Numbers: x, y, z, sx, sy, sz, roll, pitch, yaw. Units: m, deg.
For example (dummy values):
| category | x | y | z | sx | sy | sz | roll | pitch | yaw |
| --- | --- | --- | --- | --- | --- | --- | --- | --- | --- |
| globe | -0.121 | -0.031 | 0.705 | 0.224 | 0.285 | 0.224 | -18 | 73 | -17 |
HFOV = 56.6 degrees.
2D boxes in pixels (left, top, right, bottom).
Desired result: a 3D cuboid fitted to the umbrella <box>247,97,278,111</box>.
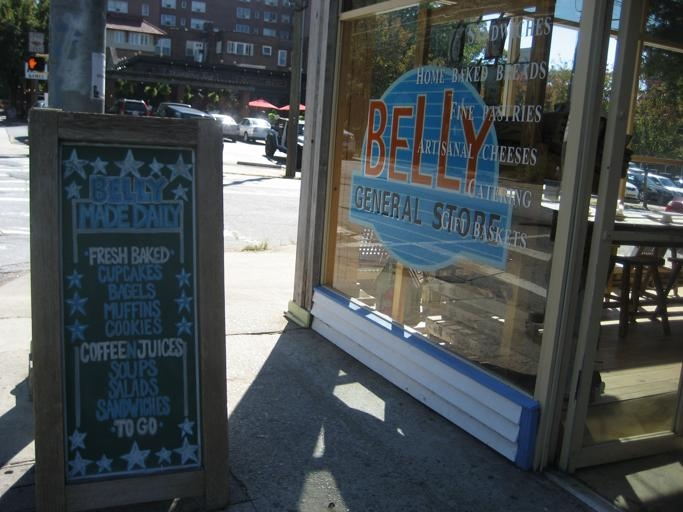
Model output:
| category | x | y | z | sx | sy | sz | roll | pitch | yaw |
| --- | --- | --- | --- | --- | --- | --- | --- | --- | --- |
| umbrella | -5.693 | -10.706 | 44.744 | 1.827 | 0.666 | 1.929 | 6 | 11 | 4 |
